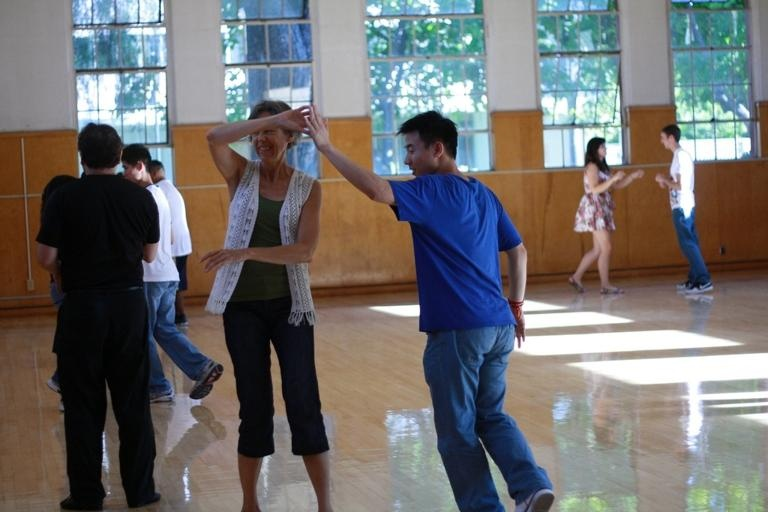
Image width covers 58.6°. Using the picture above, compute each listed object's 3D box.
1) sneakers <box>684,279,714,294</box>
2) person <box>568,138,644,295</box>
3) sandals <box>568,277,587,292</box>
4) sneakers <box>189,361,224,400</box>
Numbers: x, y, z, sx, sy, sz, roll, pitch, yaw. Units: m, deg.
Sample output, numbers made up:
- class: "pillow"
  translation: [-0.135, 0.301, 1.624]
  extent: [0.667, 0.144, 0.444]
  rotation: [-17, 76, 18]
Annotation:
- class: "sneakers"
  translation: [4.242, 0.417, 9.323]
  extent: [0.455, 0.217, 0.173]
  rotation: [0, 0, 7]
- class: "person"
  translation: [3.121, -0.617, 9.947]
  extent: [0.878, 2.178, 1.164]
  rotation: [-1, 4, 21]
- class: "sandals"
  translation: [2.781, 0.463, 9.924]
  extent: [0.150, 0.399, 0.147]
  rotation: [-23, 36, 8]
- class: "sneakers"
  translation: [-1.449, 1.007, 5.575]
  extent: [0.299, 0.113, 0.125]
  rotation: [-48, 36, -6]
